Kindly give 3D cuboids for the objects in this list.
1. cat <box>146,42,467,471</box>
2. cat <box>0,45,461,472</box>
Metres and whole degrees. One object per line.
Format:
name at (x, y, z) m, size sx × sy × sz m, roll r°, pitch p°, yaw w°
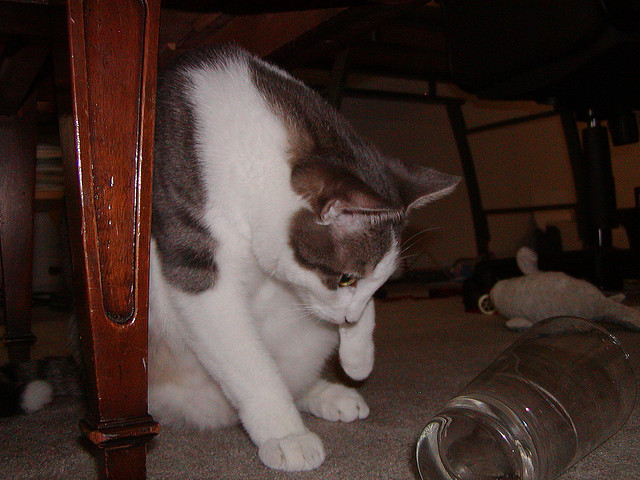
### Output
cat at (-0.082, 0.062, 1.261) m, size 0.468 × 0.737 × 0.790 m, roll -5°, pitch 20°, yaw -42°
cat at (-0.046, -0.019, 1.207) m, size 0.364 × 0.780 × 0.562 m, roll 2°, pitch 10°, yaw 37°
